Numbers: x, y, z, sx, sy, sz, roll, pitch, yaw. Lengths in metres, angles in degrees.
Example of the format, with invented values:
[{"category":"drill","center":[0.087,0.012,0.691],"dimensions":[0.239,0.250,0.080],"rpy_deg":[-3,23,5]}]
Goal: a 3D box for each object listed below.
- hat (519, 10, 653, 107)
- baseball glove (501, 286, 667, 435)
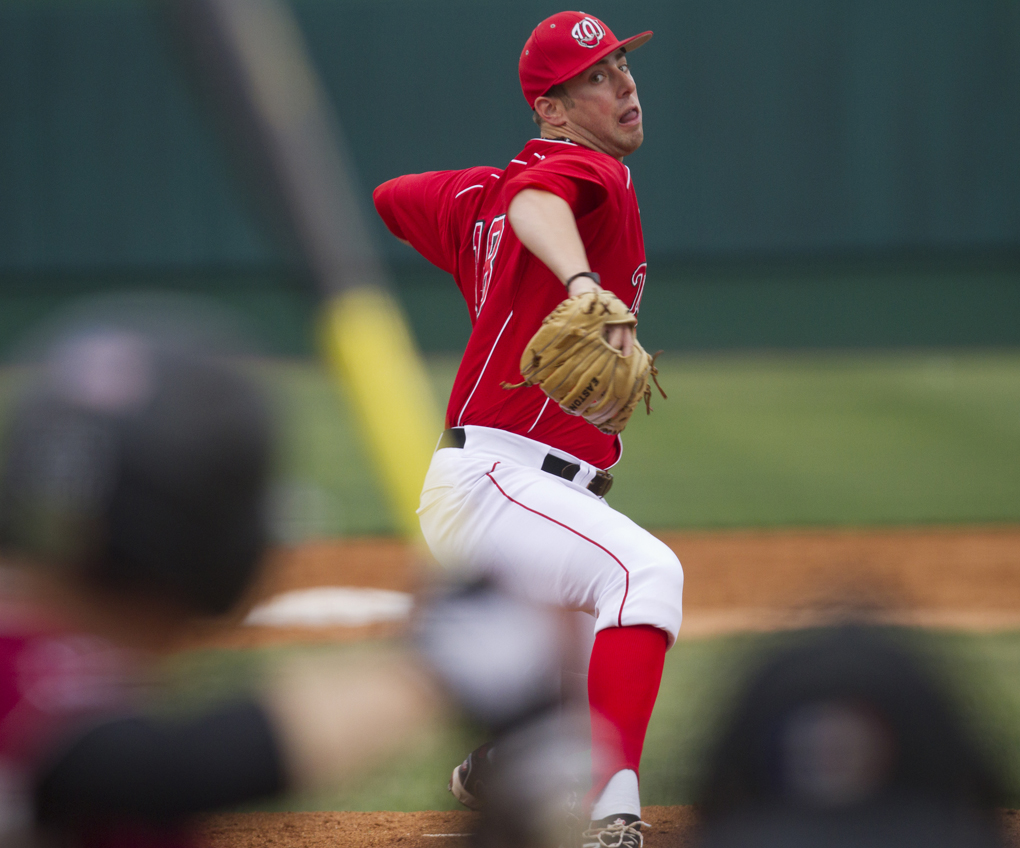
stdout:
[{"category":"hat","center":[0.140,-0.751,3.046],"dimensions":[0.238,0.127,0.157],"rpy_deg":[-32,4,24]},{"category":"baseball glove","center":[0.149,-0.106,2.802],"dimensions":[0.216,0.266,0.136],"rpy_deg":[-58,16,-16]}]
